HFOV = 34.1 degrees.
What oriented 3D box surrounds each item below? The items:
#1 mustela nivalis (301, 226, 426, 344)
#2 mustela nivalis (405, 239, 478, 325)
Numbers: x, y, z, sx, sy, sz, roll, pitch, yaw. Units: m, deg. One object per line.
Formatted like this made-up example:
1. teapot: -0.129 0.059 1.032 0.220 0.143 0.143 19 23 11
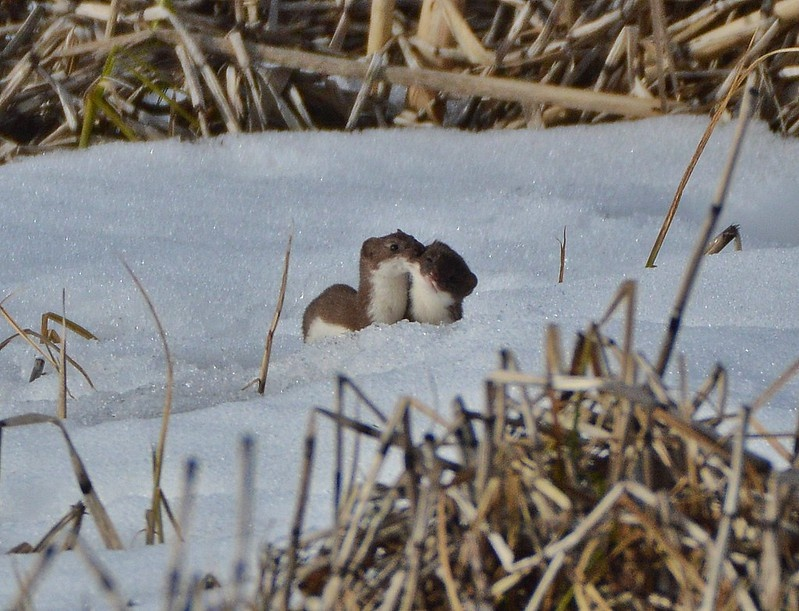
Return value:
1. mustela nivalis: -0.125 0.003 4.077 0.465 0.392 0.185 -5 1 39
2. mustela nivalis: 0.130 -0.035 3.910 0.193 0.266 0.270 1 42 -3
